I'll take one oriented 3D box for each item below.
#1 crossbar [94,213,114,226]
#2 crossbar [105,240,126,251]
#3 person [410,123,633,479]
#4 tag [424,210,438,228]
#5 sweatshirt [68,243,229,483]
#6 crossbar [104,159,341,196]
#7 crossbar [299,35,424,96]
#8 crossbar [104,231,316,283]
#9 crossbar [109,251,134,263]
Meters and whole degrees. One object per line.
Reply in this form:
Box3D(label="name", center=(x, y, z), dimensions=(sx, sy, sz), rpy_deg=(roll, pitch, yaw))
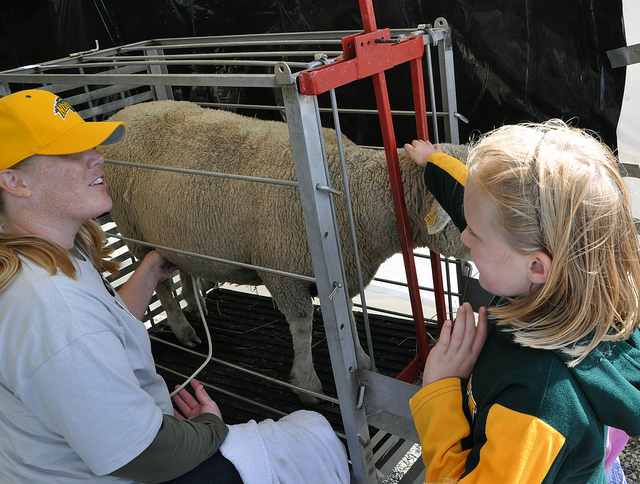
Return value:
Box3D(label="crossbar", center=(-1.389, -0.149, 3.533), dimensions=(0.138, 0.081, 0.050), rpy_deg=(-11, 43, -6))
Box3D(label="crossbar", center=(-1.135, 0.014, 3.033), dimensions=(0.072, 0.040, 0.020), rpy_deg=(-23, 43, 14))
Box3D(label="person", center=(0.506, 0.187, 1.374), dimensions=(0.565, 0.886, 0.464), rpy_deg=(-9, 18, -6))
Box3D(label="tag", center=(0.422, -0.092, 2.089), dimensions=(0.006, 0.076, 0.029), rpy_deg=(-30, 62, -25))
Box3D(label="sweatshirt", center=(-0.522, 0.346, 1.797), dimensions=(0.489, 0.696, 0.239), rpy_deg=(-18, 4, 18))
Box3D(label="crossbar", center=(-0.397, -0.276, 2.304), dimensions=(0.923, 0.051, 0.127), rpy_deg=(12, -6, 32))
Box3D(label="crossbar", center=(0.148, -0.524, 1.633), dimensions=(0.426, 0.099, 0.054), rpy_deg=(-28, 16, -28))
Box3D(label="crossbar", center=(-0.485, 0.060, 2.499), dimensions=(1.105, 0.024, 0.051), rpy_deg=(14, -19, 20))
Box3D(label="crossbar", center=(-1.170, 0.078, 3.190), dimensions=(0.092, 0.025, 0.049), rpy_deg=(-36, -8, -12))
